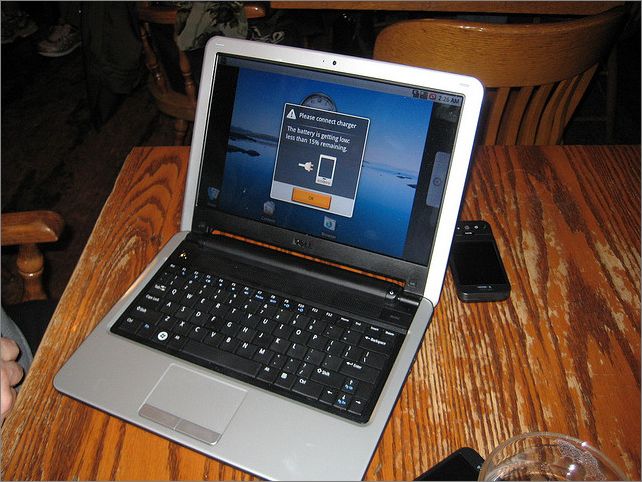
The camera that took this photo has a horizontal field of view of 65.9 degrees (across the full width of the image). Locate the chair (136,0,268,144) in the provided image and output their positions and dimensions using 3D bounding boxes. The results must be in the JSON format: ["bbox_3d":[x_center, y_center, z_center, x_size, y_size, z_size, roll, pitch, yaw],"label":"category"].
[{"bbox_3d":[-0.454,-0.799,2.007,0.487,0.669,0.437,7,67,-15],"label":"chair"}]
